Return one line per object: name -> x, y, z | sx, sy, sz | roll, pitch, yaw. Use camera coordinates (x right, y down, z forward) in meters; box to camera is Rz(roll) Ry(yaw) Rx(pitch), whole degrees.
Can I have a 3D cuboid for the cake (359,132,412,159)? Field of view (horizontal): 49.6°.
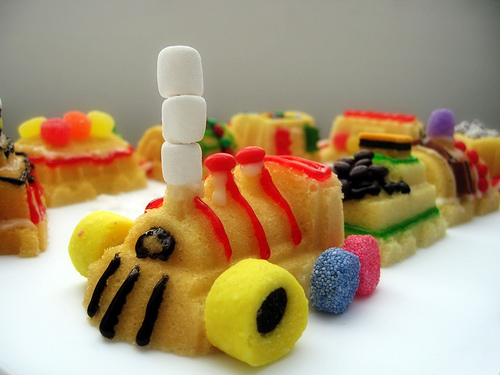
cake -> 0.964, -0.299, 3.893 | 0.367, 0.159, 0.234 | 5, 20, 15
